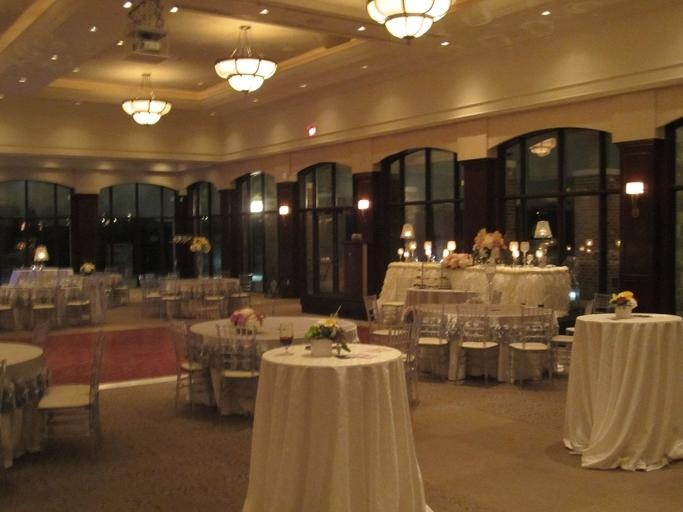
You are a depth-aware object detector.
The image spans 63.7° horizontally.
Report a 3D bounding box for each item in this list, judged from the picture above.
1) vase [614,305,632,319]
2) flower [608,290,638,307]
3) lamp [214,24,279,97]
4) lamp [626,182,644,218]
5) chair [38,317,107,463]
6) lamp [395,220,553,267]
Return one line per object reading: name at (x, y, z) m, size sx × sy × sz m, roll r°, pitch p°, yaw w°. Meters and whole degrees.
vase at (2.802, 0.544, 5.454) m, size 0.135 × 0.105 × 0.139 m, roll 0°, pitch 0°, yaw 33°
flower at (2.823, 0.420, 5.511) m, size 0.211 × 0.157 × 0.306 m, roll 1°, pitch 5°, yaw 25°
lamp at (-1.705, -3.472, 9.800) m, size 1.061 × 1.251 × 1.063 m, roll -2°, pitch 2°, yaw -29°
lamp at (4.764, -0.912, 8.900) m, size 0.281 × 0.585 × 0.256 m, roll 2°, pitch 5°, yaw 29°
chair at (-2.707, 1.393, 5.491) m, size 0.664 × 1.043 × 0.619 m, roll 0°, pitch -2°, yaw -13°
lamp at (2.341, -0.234, 10.944) m, size 3.608 × 0.917 × 2.363 m, roll 2°, pitch 5°, yaw 32°
